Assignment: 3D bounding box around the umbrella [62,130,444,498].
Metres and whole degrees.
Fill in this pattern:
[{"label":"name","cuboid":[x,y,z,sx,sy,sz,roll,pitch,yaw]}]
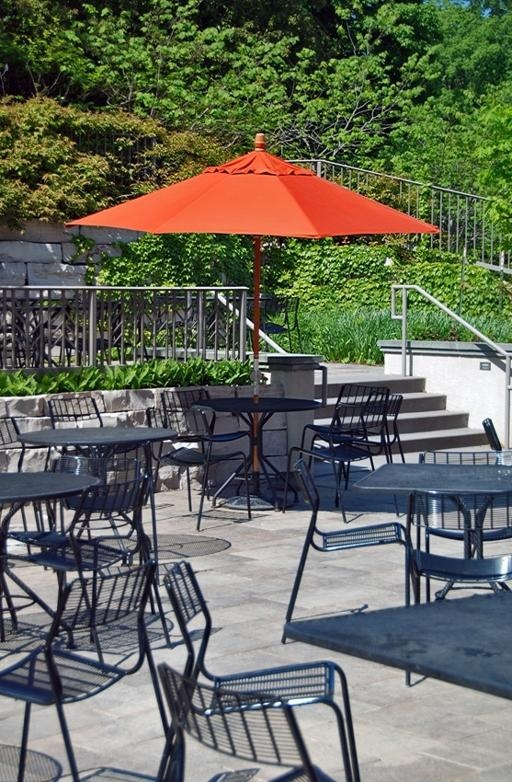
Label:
[{"label":"umbrella","cuboid":[0.077,-0.480,9.279,2.024,2.147,2.129,2,3,10]}]
